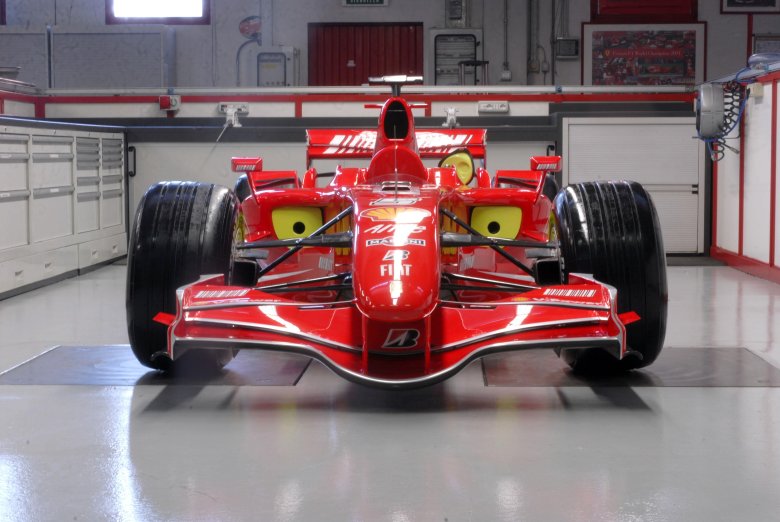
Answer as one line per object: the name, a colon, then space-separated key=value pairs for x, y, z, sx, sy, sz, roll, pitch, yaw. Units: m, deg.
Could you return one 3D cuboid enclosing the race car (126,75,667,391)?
race car: x=0.047 y=-0.409 z=4.616 sx=2.509 sy=1.496 sz=3.851 roll=0 pitch=10 yaw=0
